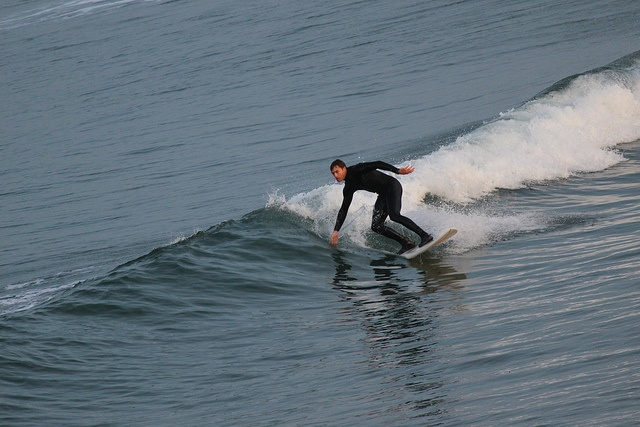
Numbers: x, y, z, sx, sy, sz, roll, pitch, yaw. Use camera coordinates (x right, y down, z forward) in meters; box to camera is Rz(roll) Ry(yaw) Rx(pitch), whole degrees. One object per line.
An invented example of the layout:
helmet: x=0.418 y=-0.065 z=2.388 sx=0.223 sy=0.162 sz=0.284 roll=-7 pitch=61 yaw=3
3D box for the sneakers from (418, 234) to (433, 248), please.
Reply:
sneakers: x=3.816 y=0.972 z=41.533 sx=0.303 sy=0.709 sz=0.216 roll=43 pitch=35 yaw=-19
